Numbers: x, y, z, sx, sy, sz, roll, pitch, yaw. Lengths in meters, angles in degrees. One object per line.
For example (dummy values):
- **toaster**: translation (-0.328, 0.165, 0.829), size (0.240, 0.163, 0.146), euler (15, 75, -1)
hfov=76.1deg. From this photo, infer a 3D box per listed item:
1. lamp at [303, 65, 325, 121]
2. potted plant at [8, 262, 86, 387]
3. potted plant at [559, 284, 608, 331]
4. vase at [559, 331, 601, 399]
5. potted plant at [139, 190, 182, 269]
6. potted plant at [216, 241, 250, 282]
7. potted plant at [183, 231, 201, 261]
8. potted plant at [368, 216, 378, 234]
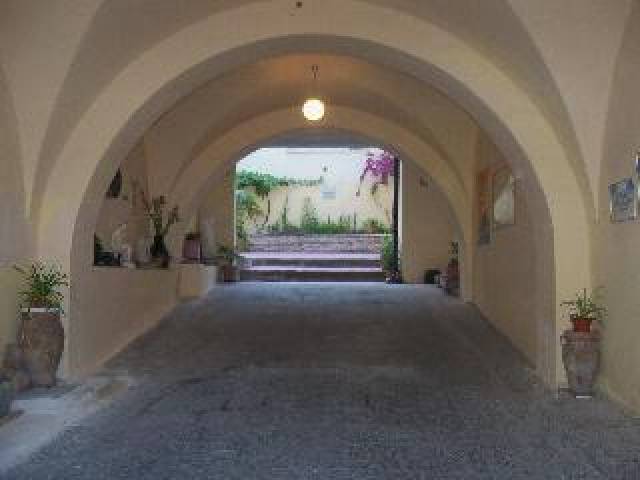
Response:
- **lamp**: translation (-0.081, -2.552, 7.377), size (0.367, 0.816, 1.342), euler (1, 1, -1)
- **potted plant**: translation (-3.044, 0.939, 4.719), size (0.715, 1.554, 0.937), euler (1, -3, -27)
- **potted plant**: translation (2.739, 0.707, 4.270), size (0.357, 0.326, 0.357), euler (11, -11, -39)
- **vase**: translation (2.707, 1.239, 4.289), size (0.327, 0.652, 0.352), euler (-2, 6, 36)
- **potted plant**: translation (-3.008, -0.207, 7.786), size (0.724, 1.514, 0.837), euler (1, 0, -26)
- **potted plant**: translation (-2.220, 0.584, 10.604), size (0.713, 0.979, 0.836), euler (2, -9, -7)
- **potted plant**: translation (-2.679, 0.134, 8.790), size (0.423, 0.636, 0.517), euler (-2, -12, 0)
- **potted plant**: translation (2.096, -0.576, 16.000), size (0.451, 0.758, 0.483), euler (1, -9, -2)
